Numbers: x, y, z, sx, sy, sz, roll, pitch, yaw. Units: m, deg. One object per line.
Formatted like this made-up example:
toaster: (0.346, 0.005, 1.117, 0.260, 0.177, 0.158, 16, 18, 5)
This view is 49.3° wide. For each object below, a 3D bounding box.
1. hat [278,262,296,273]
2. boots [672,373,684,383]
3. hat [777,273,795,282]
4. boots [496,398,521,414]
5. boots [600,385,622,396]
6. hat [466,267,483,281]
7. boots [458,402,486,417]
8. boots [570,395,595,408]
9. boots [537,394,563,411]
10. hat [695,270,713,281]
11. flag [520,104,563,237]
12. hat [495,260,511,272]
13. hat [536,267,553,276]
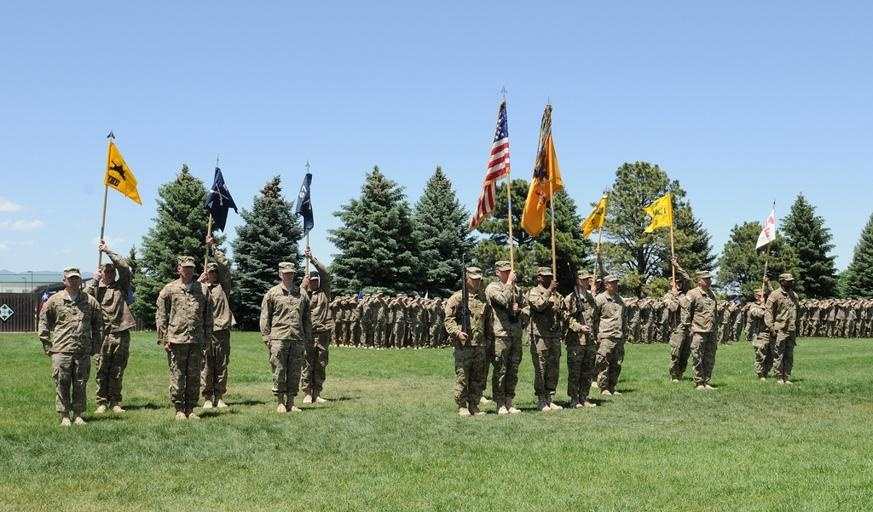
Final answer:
hat: (-4.177, 0.346, 26.392, 0.455, 0.173, 0.610, 1, 1, -21)
boots: (7.521, 3.877, 29.852, 0.230, 0.237, 0.249, -9, -17, 31)
hat: (10.723, 0.686, 29.498, 0.411, 0.195, 0.524, -1, 2, -33)
boots: (2.016, 4.099, 25.640, 0.735, 0.480, 0.297, -10, -12, 39)
boots: (5.068, 4.007, 27.874, 0.574, 0.433, 0.223, -7, -9, 34)
hat: (1.050, 0.521, 25.724, 0.296, 0.365, 0.527, 5, 10, 28)
boots: (1.019, 4.152, 25.433, 0.714, 0.527, 0.271, -6, -6, 20)
boots: (4.026, 4.104, 26.498, 0.732, 0.473, 0.267, -7, -7, 27)
boots: (3.045, 4.073, 26.094, 0.887, 0.364, 0.281, 0, -2, -45)
hat: (8.195, 0.597, 29.267, 0.410, 0.254, 0.466, 3, 9, 15)
flag: (3.038, -2.435, 27.255, 1.067, 3.755, 1.798, 1, 9, 7)
hat: (1.834, 0.294, 25.945, 0.369, 0.287, 0.399, -1, 9, -10)
hat: (3.024, 0.419, 26.412, 0.399, 0.260, 0.844, 2, 9, 8)
